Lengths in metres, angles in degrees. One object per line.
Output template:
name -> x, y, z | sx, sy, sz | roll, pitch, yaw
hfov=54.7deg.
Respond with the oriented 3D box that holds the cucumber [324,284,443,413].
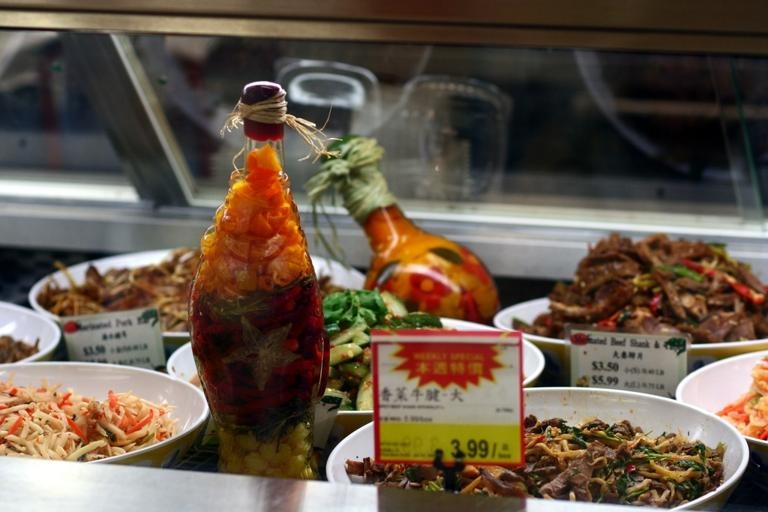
cucumber -> -0.061, 0.208, 1.700 | 0.272, 0.065, 0.250 | 5, 67, -6
